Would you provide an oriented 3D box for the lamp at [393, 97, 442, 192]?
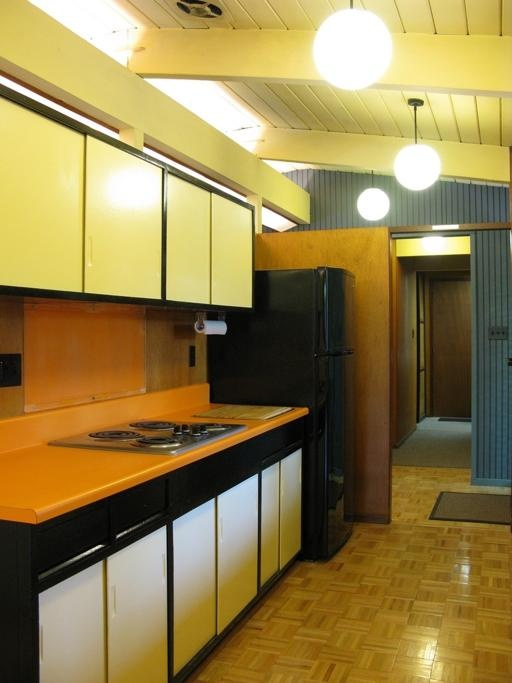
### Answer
[{"bbox_3d":[1.114,-1.347,3.843,0.280,0.663,0.297,-1,1,6],"label":"lamp"}]

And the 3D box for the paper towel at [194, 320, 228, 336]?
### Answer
[{"bbox_3d":[-0.226,-0.071,2.878,0.131,0.071,0.310,0,-1,1],"label":"paper towel"}]

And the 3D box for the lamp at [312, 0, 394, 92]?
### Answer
[{"bbox_3d":[0.325,-0.974,1.867,0.200,0.213,0.206,1,-2,-42],"label":"lamp"}]
